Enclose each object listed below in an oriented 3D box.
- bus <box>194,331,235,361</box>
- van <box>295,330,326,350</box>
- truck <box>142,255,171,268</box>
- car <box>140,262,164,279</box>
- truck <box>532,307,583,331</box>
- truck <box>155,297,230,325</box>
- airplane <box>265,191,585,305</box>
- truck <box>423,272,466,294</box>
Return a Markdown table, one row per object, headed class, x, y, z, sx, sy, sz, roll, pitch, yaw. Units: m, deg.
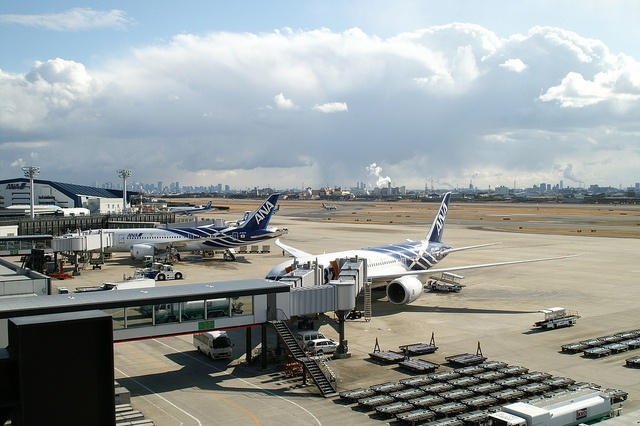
| class | x | y | z | sx | sy | sz | roll | pitch | yaw |
| --- | --- | --- | --- | --- | --- | --- | --- | --- | --- |
| bus | -8.551 | 10.222 | 42.960 | 2.013 | 1.517 | 3.915 | -1 | -1 | -36 |
| van | -0.822 | 10.030 | 43.230 | 2.325 | 1.031 | 1.278 | -5 | 7 | -29 |
| truck | -25.467 | 7.546 | 85.081 | 3.405 | 1.296 | 1.873 | 1 | -3 | 4 |
| car | -21.809 | 7.769 | 71.564 | 2.794 | 1.657 | 4.565 | 0 | 4 | -17 |
| truck | 20.823 | 9.646 | 50.063 | 5.959 | 2.010 | 1.792 | 0 | -5 | -26 |
| truck | -8.973 | 6.707 | 37.851 | 6.542 | 1.501 | 1.572 | -1 | 5 | -18 |
| airplane | 9.034 | 5.333 | 58.048 | 19.460 | 5.948 | 17.550 | 1 | 2 | 44 |
| truck | 15.317 | 9.113 | 66.303 | 4.703 | 1.822 | 2.925 | -2 | 7 | -13 |
